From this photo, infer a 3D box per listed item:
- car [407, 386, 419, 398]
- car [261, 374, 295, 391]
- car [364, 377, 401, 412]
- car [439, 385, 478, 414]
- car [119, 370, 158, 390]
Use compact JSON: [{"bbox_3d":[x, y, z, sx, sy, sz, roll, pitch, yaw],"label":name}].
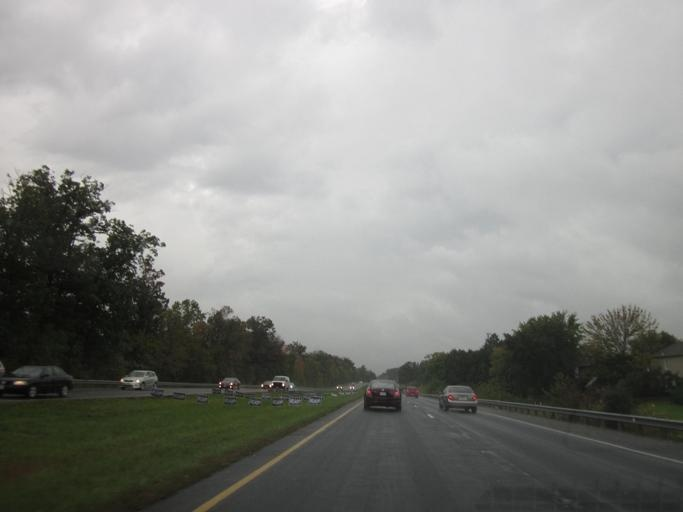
[{"bbox_3d":[9.210,17.957,79.718,1.413,1.470,2.697,2,-8,5],"label":"car"},{"bbox_3d":[-8.455,16.866,81.967,2.882,2.368,7.116,-2,-22,5],"label":"car"},{"bbox_3d":[2.386,8.189,35.864,2.009,1.893,2.685,1,-17,3],"label":"car"},{"bbox_3d":[7.563,9.339,39.308,1.859,1.853,2.821,2,-17,0],"label":"car"},{"bbox_3d":[-15.706,9.736,47.276,1.387,1.202,2.735,-4,-24,11],"label":"car"}]
